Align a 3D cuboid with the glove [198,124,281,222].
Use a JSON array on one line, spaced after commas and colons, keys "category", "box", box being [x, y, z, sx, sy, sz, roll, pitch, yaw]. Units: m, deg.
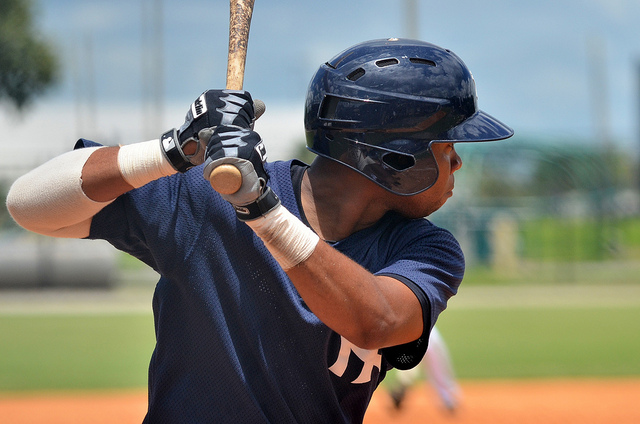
[{"category": "glove", "box": [-0.677, -0.365, 9.240, 0.644, 0.832, 0.397, 5, 22, 26]}]
